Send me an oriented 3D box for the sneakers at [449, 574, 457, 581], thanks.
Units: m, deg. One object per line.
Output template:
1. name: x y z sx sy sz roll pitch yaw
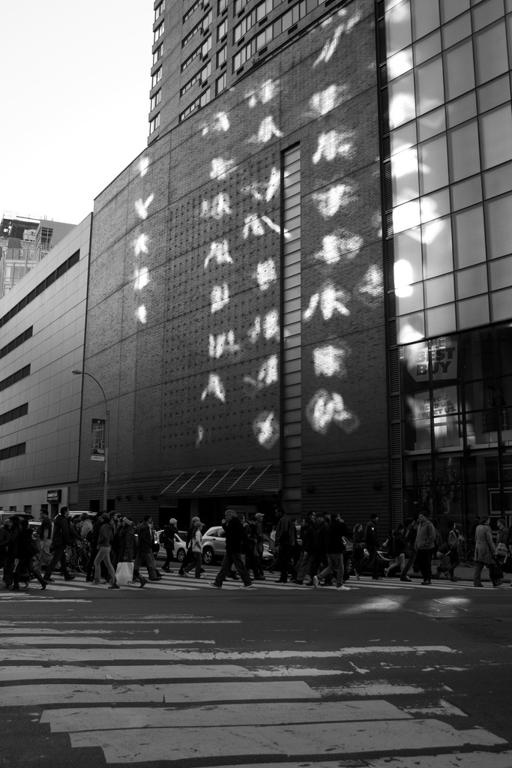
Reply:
1. sneakers: 5.784 5.709 21.615 0.222 0.083 0.180 -1 -4 18
